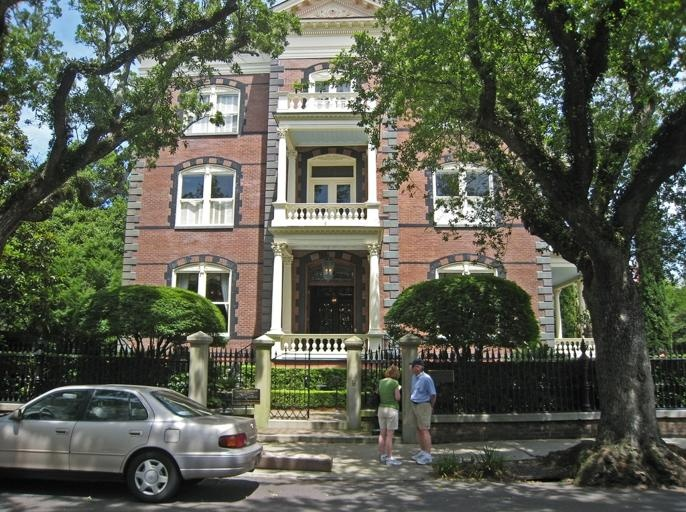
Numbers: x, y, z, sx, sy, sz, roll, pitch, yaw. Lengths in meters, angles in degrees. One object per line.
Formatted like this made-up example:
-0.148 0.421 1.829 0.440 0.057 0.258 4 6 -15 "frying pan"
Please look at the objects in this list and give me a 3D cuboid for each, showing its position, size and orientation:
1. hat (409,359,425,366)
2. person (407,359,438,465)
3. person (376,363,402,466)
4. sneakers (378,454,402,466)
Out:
1.641 2.424 16.250 0.323 0.135 0.208 -1 -5 12 "hat"
1.792 3.489 16.126 0.508 2.298 0.859 -1 -13 6 "person"
1.002 3.518 15.903 0.480 2.138 0.557 0 -13 3 "person"
1.038 4.480 15.660 0.553 0.194 0.176 3 -7 -15 "sneakers"
